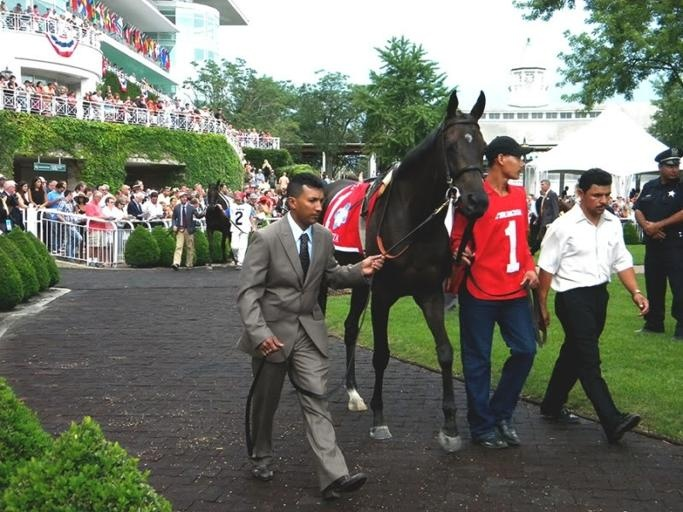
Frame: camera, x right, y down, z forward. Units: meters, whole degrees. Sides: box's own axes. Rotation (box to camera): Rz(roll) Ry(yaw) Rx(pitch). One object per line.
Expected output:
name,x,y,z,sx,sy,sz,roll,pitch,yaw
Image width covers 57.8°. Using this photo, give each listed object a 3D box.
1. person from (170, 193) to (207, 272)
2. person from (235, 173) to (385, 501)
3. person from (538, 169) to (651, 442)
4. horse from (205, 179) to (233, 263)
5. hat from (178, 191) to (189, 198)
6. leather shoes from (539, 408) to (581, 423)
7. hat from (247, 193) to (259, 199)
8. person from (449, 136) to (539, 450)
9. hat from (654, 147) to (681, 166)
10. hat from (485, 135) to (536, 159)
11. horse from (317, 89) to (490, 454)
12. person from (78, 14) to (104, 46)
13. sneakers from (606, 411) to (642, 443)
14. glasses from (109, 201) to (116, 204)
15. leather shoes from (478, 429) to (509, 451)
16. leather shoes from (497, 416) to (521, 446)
person,-4.559,-0.711,17.864,0.621,2.162,1.012,-1,7,0
person,-0.291,0.556,4.674,0.990,2.337,1.015,-1,7,2
person,2.243,0.392,5.595,0.895,2.349,0.847,3,8,32
horse,-4.002,-0.950,19.925,0.797,2.450,3.207,-2,-7,-7
hat,-4.538,-1.770,17.912,0.229,0.129,0.344,2,7,-16
leather shoes,2.061,1.503,5.864,0.355,0.161,0.132,-1,0,7
hat,-3.487,-2.342,24.273,0.473,0.178,0.531,-2,5,15
person,1.333,0.294,5.367,0.749,2.626,0.550,0,7,5
hat,4.414,-1.341,8.423,0.239,0.154,0.283,0,3,-5
hat,1.415,-0.928,5.318,0.337,0.209,0.213,-4,17,14
horse,0.443,0.127,6.302,0.912,3.108,3.795,-1,1,-21
person,-13.104,-11.403,31.930,0.627,1.334,2.026,0,7,6
sneakers,2.396,1.456,5.275,0.138,0.291,0.105,43,14,8
glasses,-6.768,-1.582,18.302,0.134,0.098,0.178,0,-6,-17
leather shoes,1.295,1.577,5.339,0.265,0.118,0.117,-3,-2,32
leather shoes,1.461,1.519,5.431,0.103,0.120,0.293,2,10,-24
